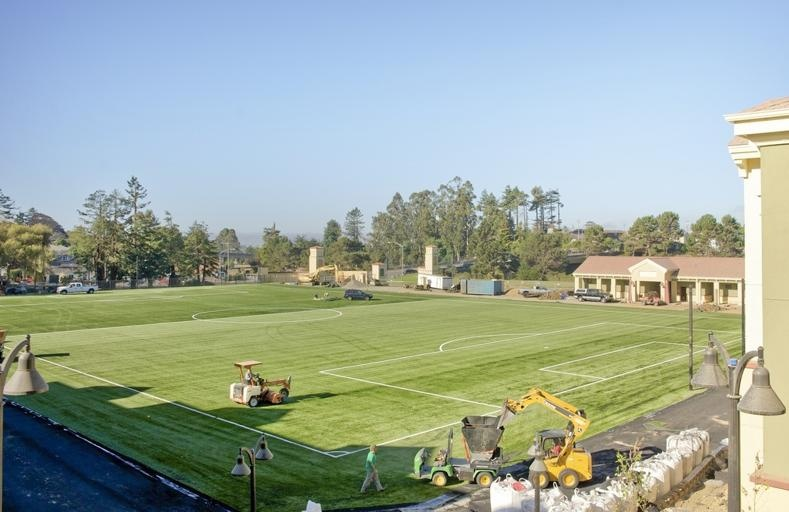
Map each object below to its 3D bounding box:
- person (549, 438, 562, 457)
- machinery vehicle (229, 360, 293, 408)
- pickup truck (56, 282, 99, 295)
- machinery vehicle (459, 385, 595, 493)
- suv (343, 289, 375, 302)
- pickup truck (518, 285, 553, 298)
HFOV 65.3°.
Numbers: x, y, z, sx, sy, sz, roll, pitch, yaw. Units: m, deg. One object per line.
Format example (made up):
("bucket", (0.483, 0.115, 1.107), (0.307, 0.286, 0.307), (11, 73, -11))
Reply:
("person", (7.002, 8.329, 26.840), (0.555, 0.771, 0.265), (-1, -3, 18))
("machinery vehicle", (-7.899, 7.777, 37.442), (3.643, 2.106, 2.710), (-4, 6, -37))
("pickup truck", (-51.101, 5.317, 99.380), (5.609, 1.634, 2.441), (3, -4, -42))
("machinery vehicle", (5.884, 8.126, 27.637), (5.593, 3.778, 2.499), (-1, 1, 9))
("suv", (-5.451, 5.810, 92.109), (3.815, 1.570, 3.748), (1, -3, -16))
("pickup truck", (22.543, 5.746, 99.064), (3.731, 1.288, 2.187), (0, 3, 17))
